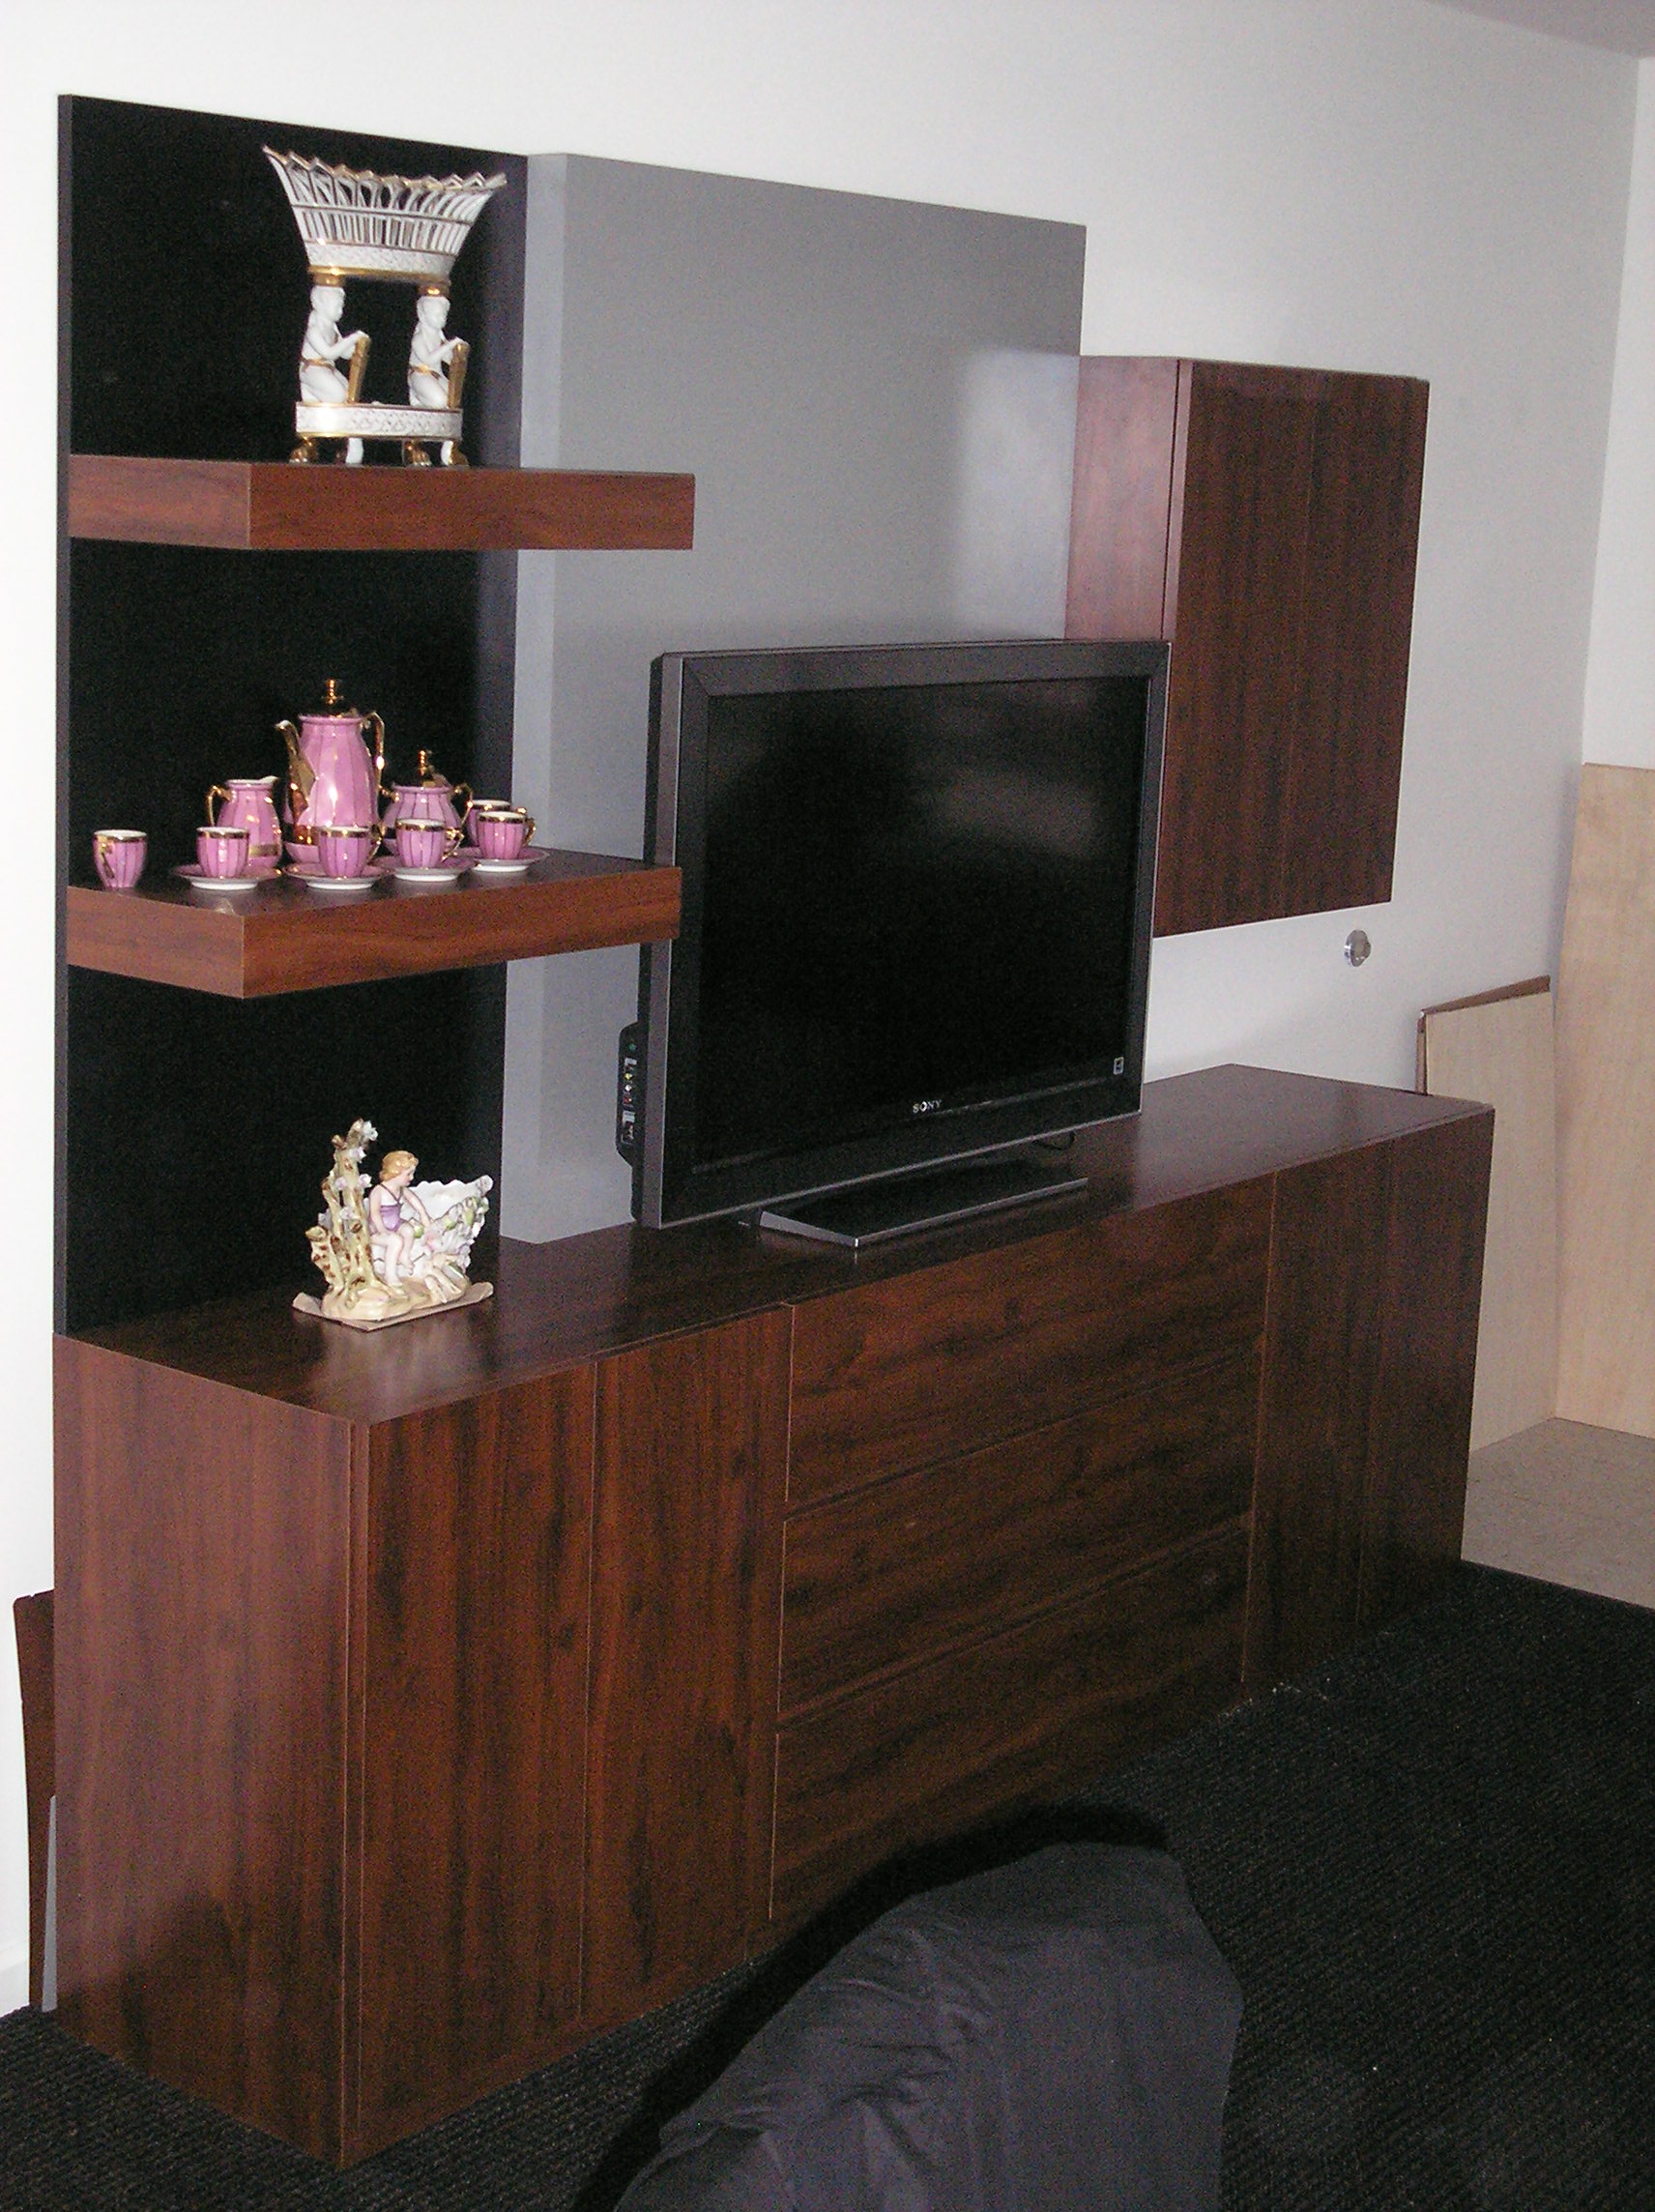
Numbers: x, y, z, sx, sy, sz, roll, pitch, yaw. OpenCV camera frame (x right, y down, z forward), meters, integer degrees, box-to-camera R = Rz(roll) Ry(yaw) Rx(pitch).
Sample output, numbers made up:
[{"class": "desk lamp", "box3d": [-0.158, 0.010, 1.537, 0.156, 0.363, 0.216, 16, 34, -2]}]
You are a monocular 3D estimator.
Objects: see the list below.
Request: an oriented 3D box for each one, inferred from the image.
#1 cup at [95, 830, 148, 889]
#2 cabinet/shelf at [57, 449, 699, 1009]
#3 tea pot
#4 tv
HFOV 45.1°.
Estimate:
[{"class": "cup", "box3d": [-0.602, -0.209, 1.687, 0.052, 0.056, 0.052, 1, 11, 0]}, {"class": "cabinet/shelf", "box3d": [-0.434, -0.356, 1.849, 0.196, 0.439, 0.548, 16, 20, 40]}, {"class": "tea pot", "box3d": [-0.395, -0.290, 1.803, 0.333, 0.216, 0.127, 5, 10, 18]}, {"class": "tv", "box3d": [0.057, -0.202, 2.377, 0.081, 0.568, 0.800, 11, 13, 37]}]
